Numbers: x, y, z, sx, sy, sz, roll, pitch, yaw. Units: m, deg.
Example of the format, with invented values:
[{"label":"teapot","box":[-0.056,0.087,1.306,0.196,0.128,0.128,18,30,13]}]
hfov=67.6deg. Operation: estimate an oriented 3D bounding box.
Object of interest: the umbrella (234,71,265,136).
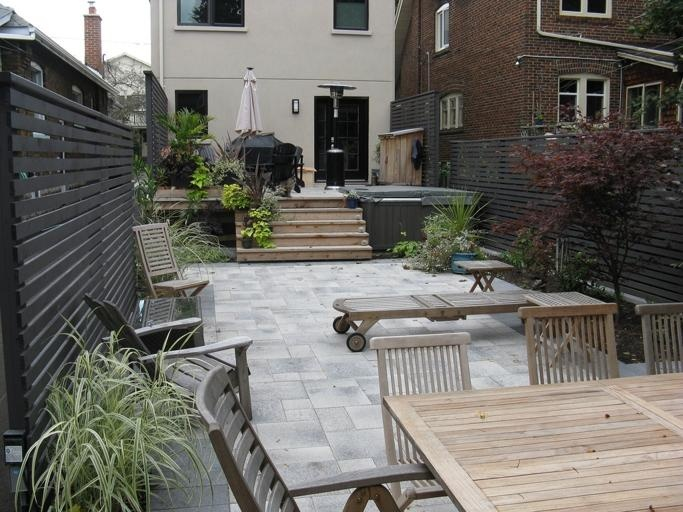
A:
[{"label":"umbrella","box":[-2.541,-4.253,13.915,0.652,1.825,0.561,-3,3,-13]}]

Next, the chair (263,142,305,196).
[{"label":"chair","box":[-1.271,-2.162,12.614,1.018,1.279,1.374,-1,10,-10]}]

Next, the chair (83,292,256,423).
[{"label":"chair","box":[-1.294,0.753,4.013,1.301,1.148,0.983,-4,11,-27]}]

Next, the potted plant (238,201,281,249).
[{"label":"potted plant","box":[-1.757,-0.661,10.827,0.784,0.881,0.594,6,6,-12]}]

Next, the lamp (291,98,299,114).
[{"label":"lamp","box":[-1.409,-4.645,15.977,0.245,0.466,0.114,-2,3,-7]}]

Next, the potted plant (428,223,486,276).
[{"label":"potted plant","box":[2.224,-0.151,10.179,1.117,1.118,0.837,0,3,-7]}]

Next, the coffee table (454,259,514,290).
[{"label":"coffee table","box":[2.368,0.302,8.274,0.765,0.536,1.810,-1,3,19]}]
